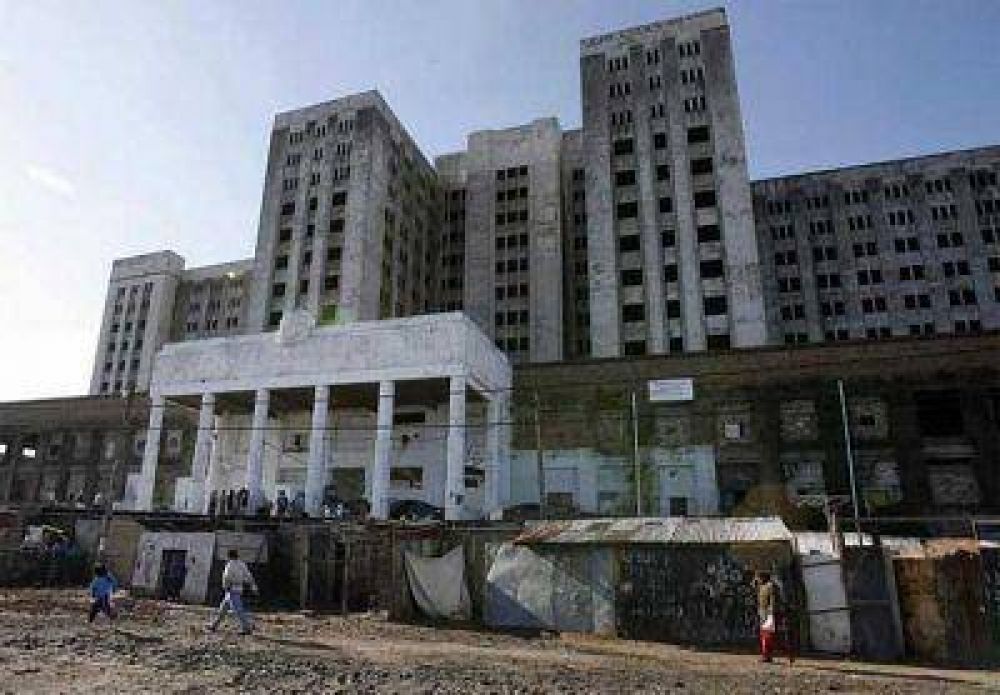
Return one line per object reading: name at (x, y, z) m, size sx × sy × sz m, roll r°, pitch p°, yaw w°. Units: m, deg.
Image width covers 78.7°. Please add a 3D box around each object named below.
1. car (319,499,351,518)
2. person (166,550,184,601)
car at (-9.719, 9.632, 36.176) m, size 1.282 × 0.762 × 1.754 m, roll 2°, pitch -9°, yaw -12°
person at (-14.220, 9.914, 26.684) m, size 0.862 × 2.058 × 0.498 m, roll -9°, pitch -20°, yaw 28°
